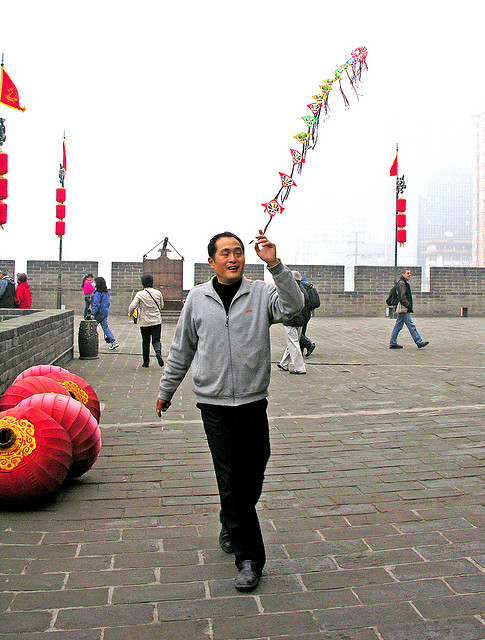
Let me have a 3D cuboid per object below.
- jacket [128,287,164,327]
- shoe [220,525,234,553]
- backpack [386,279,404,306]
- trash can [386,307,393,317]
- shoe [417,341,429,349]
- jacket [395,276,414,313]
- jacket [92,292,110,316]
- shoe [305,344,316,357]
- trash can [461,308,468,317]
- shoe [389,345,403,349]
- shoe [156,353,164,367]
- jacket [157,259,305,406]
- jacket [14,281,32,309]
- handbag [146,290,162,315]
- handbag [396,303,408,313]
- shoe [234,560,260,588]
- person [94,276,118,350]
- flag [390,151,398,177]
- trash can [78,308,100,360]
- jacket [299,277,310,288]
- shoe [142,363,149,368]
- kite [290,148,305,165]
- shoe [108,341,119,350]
[{"bbox_3d":[-1.603,-0.245,9.697,0.569,0.685,0.379,-5,18,-25],"label":"jacket"},{"bbox_3d":[-0.077,1.044,2.702,0.048,0.105,0.177,-1,1,-13],"label":"shoe"},{"bbox_3d":[3.422,-0.517,12.352,0.515,0.493,0.375,2,-11,3],"label":"backpack"},{"bbox_3d":[5.726,-0.289,22.032,0.272,0.508,0.276,0,0,2],"label":"trash can"},{"bbox_3d":[3.849,0.540,12.079,0.214,0.109,0.318,0,1,14],"label":"shoe"},{"bbox_3d":[3.452,-0.542,12.076,0.344,0.780,0.366,0,1,7],"label":"jacket"},{"bbox_3d":[-3.087,-0.344,12.318,0.301,0.504,0.542,1,-1,20],"label":"jacket"},{"bbox_3d":[1.286,0.603,10.674,0.083,0.262,0.110,8,23,-23],"label":"shoe"},{"bbox_3d":[8.827,-0.280,22.491,0.282,0.543,0.289,3,5,20],"label":"trash can"},{"bbox_3d":[3.314,0.586,12.200,0.262,0.107,0.096,1,2,-6],"label":"shoe"},{"bbox_3d":[-1.394,0.683,9.559,0.076,0.209,0.139,-28,-2,2],"label":"shoe"},{"bbox_3d":[-0.045,0.062,2.660,0.714,0.655,0.353,-5,-1,14],"label":"jacket"},{"bbox_3d":[-4.374,-0.488,11.275,0.290,0.521,0.644,-1,1,-23],"label":"jacket"},{"bbox_3d":[-1.505,-0.289,9.582,0.050,0.439,0.050,-22,8,36],"label":"handbag"},{"bbox_3d":[3.388,-0.252,11.968,0.166,0.192,0.086,14,42,29],"label":"handbag"},{"bbox_3d":[0.023,1.044,2.307,0.081,0.085,0.157,0,1,7],"label":"shoe"},{"bbox_3d":[-3.013,-0.179,12.496,0.469,1.566,1.912,-1,1,-14],"label":"person"},{"bbox_3d":[5.597,-5.616,20.940,0.223,0.675,0.658,0,1,22],"label":"flag"},{"bbox_3d":[-2.874,0.332,10.607,0.370,0.779,0.685,-1,1,-17],"label":"trash can"},{"bbox_3d":[1.036,-0.636,9.389,0.123,0.216,0.107,-34,-1,-7],"label":"jacket"},{"bbox_3d":[-1.632,0.778,9.553,0.098,0.069,0.034,8,5,29],"label":"shoe"},{"bbox_3d":[1.086,-3.164,11.018,0.217,0.317,0.376,0,1,8],"label":"kite"},{"bbox_3d":[-2.685,0.553,11.790,0.099,0.137,0.287,-1,-8,-39],"label":"shoe"}]
